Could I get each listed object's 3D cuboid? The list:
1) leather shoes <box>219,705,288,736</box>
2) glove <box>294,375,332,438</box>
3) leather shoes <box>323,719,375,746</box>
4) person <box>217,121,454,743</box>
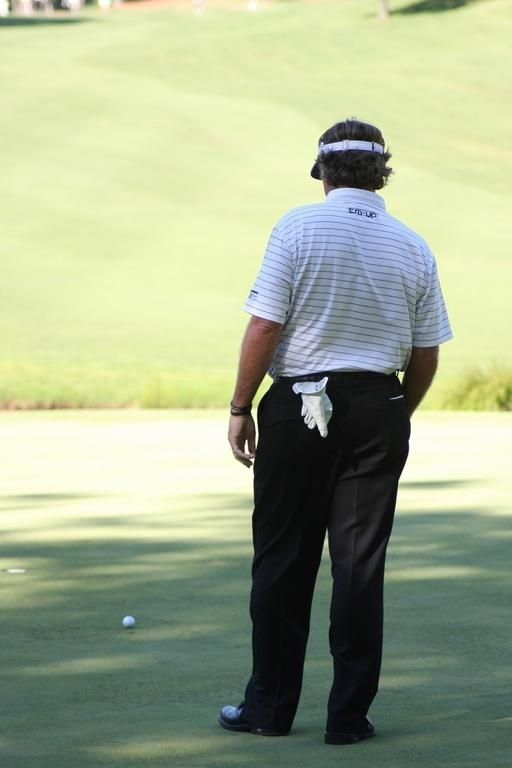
[{"bbox_3d":[-0.023,0.915,3.077,0.180,0.073,0.075,9,2,30],"label":"leather shoes"},{"bbox_3d":[0.149,0.061,2.915,0.082,0.151,0.089,-7,14,-30],"label":"glove"},{"bbox_3d":[0.249,0.911,2.988,0.147,0.048,0.051,-4,1,-34],"label":"leather shoes"},{"bbox_3d":[0.202,0.128,3.080,0.528,1.664,0.612,4,13,18],"label":"person"}]
